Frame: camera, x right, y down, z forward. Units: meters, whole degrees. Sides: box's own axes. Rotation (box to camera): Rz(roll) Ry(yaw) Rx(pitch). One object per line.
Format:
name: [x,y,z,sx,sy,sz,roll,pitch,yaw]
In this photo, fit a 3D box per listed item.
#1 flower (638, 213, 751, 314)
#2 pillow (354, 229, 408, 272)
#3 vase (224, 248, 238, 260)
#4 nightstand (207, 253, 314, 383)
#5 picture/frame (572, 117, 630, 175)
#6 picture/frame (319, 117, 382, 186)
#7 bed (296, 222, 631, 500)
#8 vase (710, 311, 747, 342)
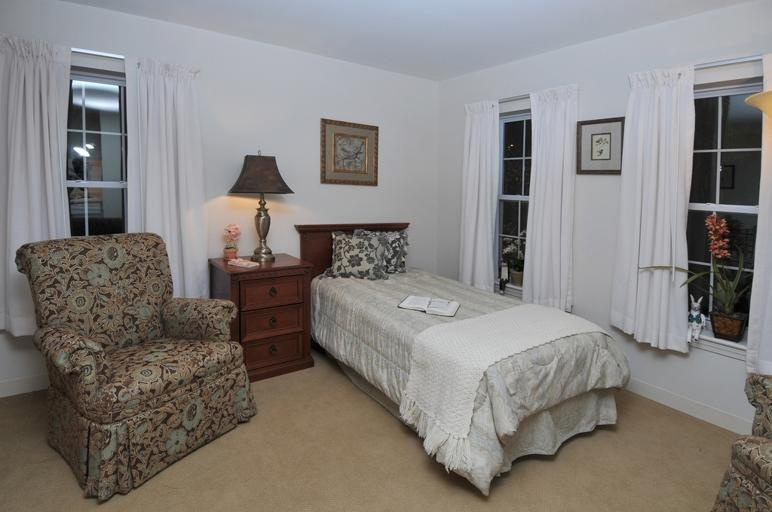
flower: [2.754,0.101,4.126,0.788,0.680,0.680,-8,-2,11]
pillow: [0.051,-0.011,5.069,0.502,0.492,0.150,-3,-3,-18]
vase: [-1.518,-0.022,4.570,0.113,0.092,0.111,-4,9,-20]
nightstand: [-1.237,0.582,4.615,0.860,1.067,0.741,-6,15,-38]
picture/frame: [2.031,-1.034,4.356,0.047,0.682,0.554,-7,10,-43]
picture/frame: [-0.432,-1.172,5.212,0.836,0.795,0.058,-1,3,-34]
bed: [0.473,0.595,3.967,1.454,1.169,2.199,-8,13,-37]
vase: [2.787,0.564,3.865,0.288,0.256,0.224,0,5,-28]
